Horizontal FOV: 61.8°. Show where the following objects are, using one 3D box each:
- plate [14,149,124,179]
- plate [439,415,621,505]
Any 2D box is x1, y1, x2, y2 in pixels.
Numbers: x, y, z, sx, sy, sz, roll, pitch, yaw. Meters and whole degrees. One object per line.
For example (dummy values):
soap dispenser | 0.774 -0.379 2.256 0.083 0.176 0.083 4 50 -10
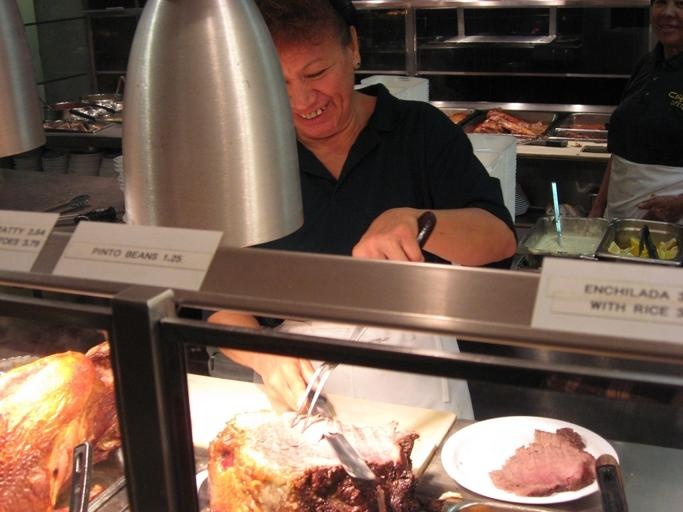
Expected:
plate | -1.656 -0.568 3.463 0.864 0.128 0.405 6 18 19
plate | 0.192 0.204 0.568 0.126 0.012 0.116 3 20 20
